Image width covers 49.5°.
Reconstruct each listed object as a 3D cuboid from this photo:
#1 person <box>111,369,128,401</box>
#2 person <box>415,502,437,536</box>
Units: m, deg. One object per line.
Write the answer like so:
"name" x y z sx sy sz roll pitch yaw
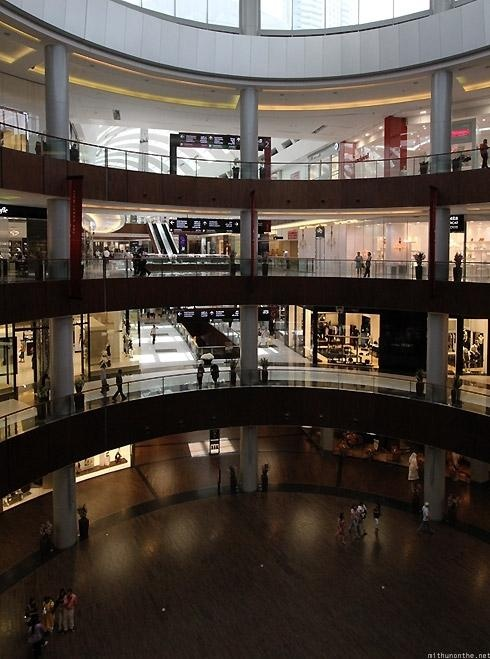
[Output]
"person" -4.785 1.985 20.204 0.516 1.033 2.678 -1 5 -13
"person" 7.179 7.525 20.933 0.688 1.531 0.622 -6 11 -14
